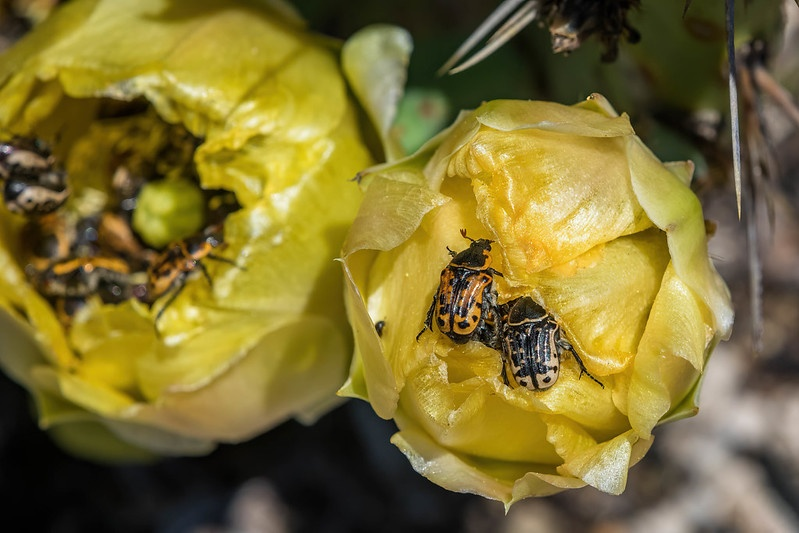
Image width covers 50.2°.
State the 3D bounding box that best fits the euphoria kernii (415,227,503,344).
[{"bbox_3d":[0.093,0.034,1.255,0.118,0.051,0.196,-1,58,16],"label":"euphoria kernii"}]

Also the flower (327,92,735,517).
[{"bbox_3d":[0.216,0.039,1.382,0.539,0.351,0.608,8,98,9],"label":"flower"}]

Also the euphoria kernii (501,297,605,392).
[{"bbox_3d":[0.194,0.127,1.211,0.124,0.044,0.142,-19,66,6],"label":"euphoria kernii"}]
